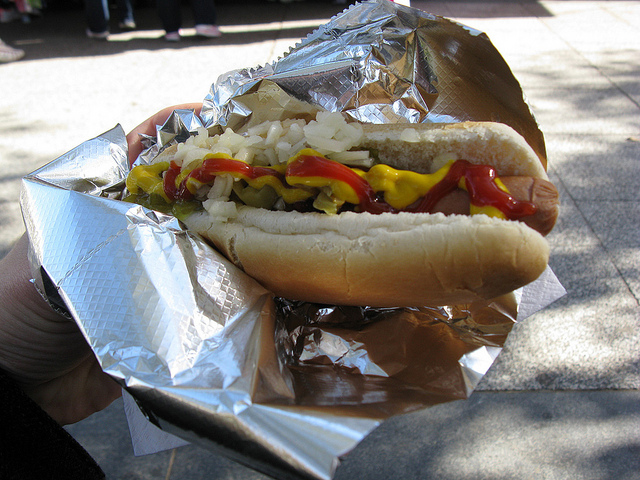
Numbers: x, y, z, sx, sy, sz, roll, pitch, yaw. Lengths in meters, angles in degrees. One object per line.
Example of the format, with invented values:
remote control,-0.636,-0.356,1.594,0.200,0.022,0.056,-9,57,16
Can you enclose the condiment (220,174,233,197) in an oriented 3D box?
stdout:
condiment,-0.557,-0.342,3.563,0.031,0.080,0.106,31,90,-8

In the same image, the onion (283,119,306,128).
onion,-0.161,-0.760,3.669,0.066,0.029,0.103,21,22,28

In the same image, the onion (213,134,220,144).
onion,-0.650,-0.665,3.685,0.050,0.049,0.046,1,49,-7

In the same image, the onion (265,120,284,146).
onion,-0.283,-0.684,3.632,0.099,0.037,0.144,32,88,5

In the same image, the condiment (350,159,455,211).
condiment,0.494,-0.338,3.414,0.641,0.228,0.214,-2,6,18
